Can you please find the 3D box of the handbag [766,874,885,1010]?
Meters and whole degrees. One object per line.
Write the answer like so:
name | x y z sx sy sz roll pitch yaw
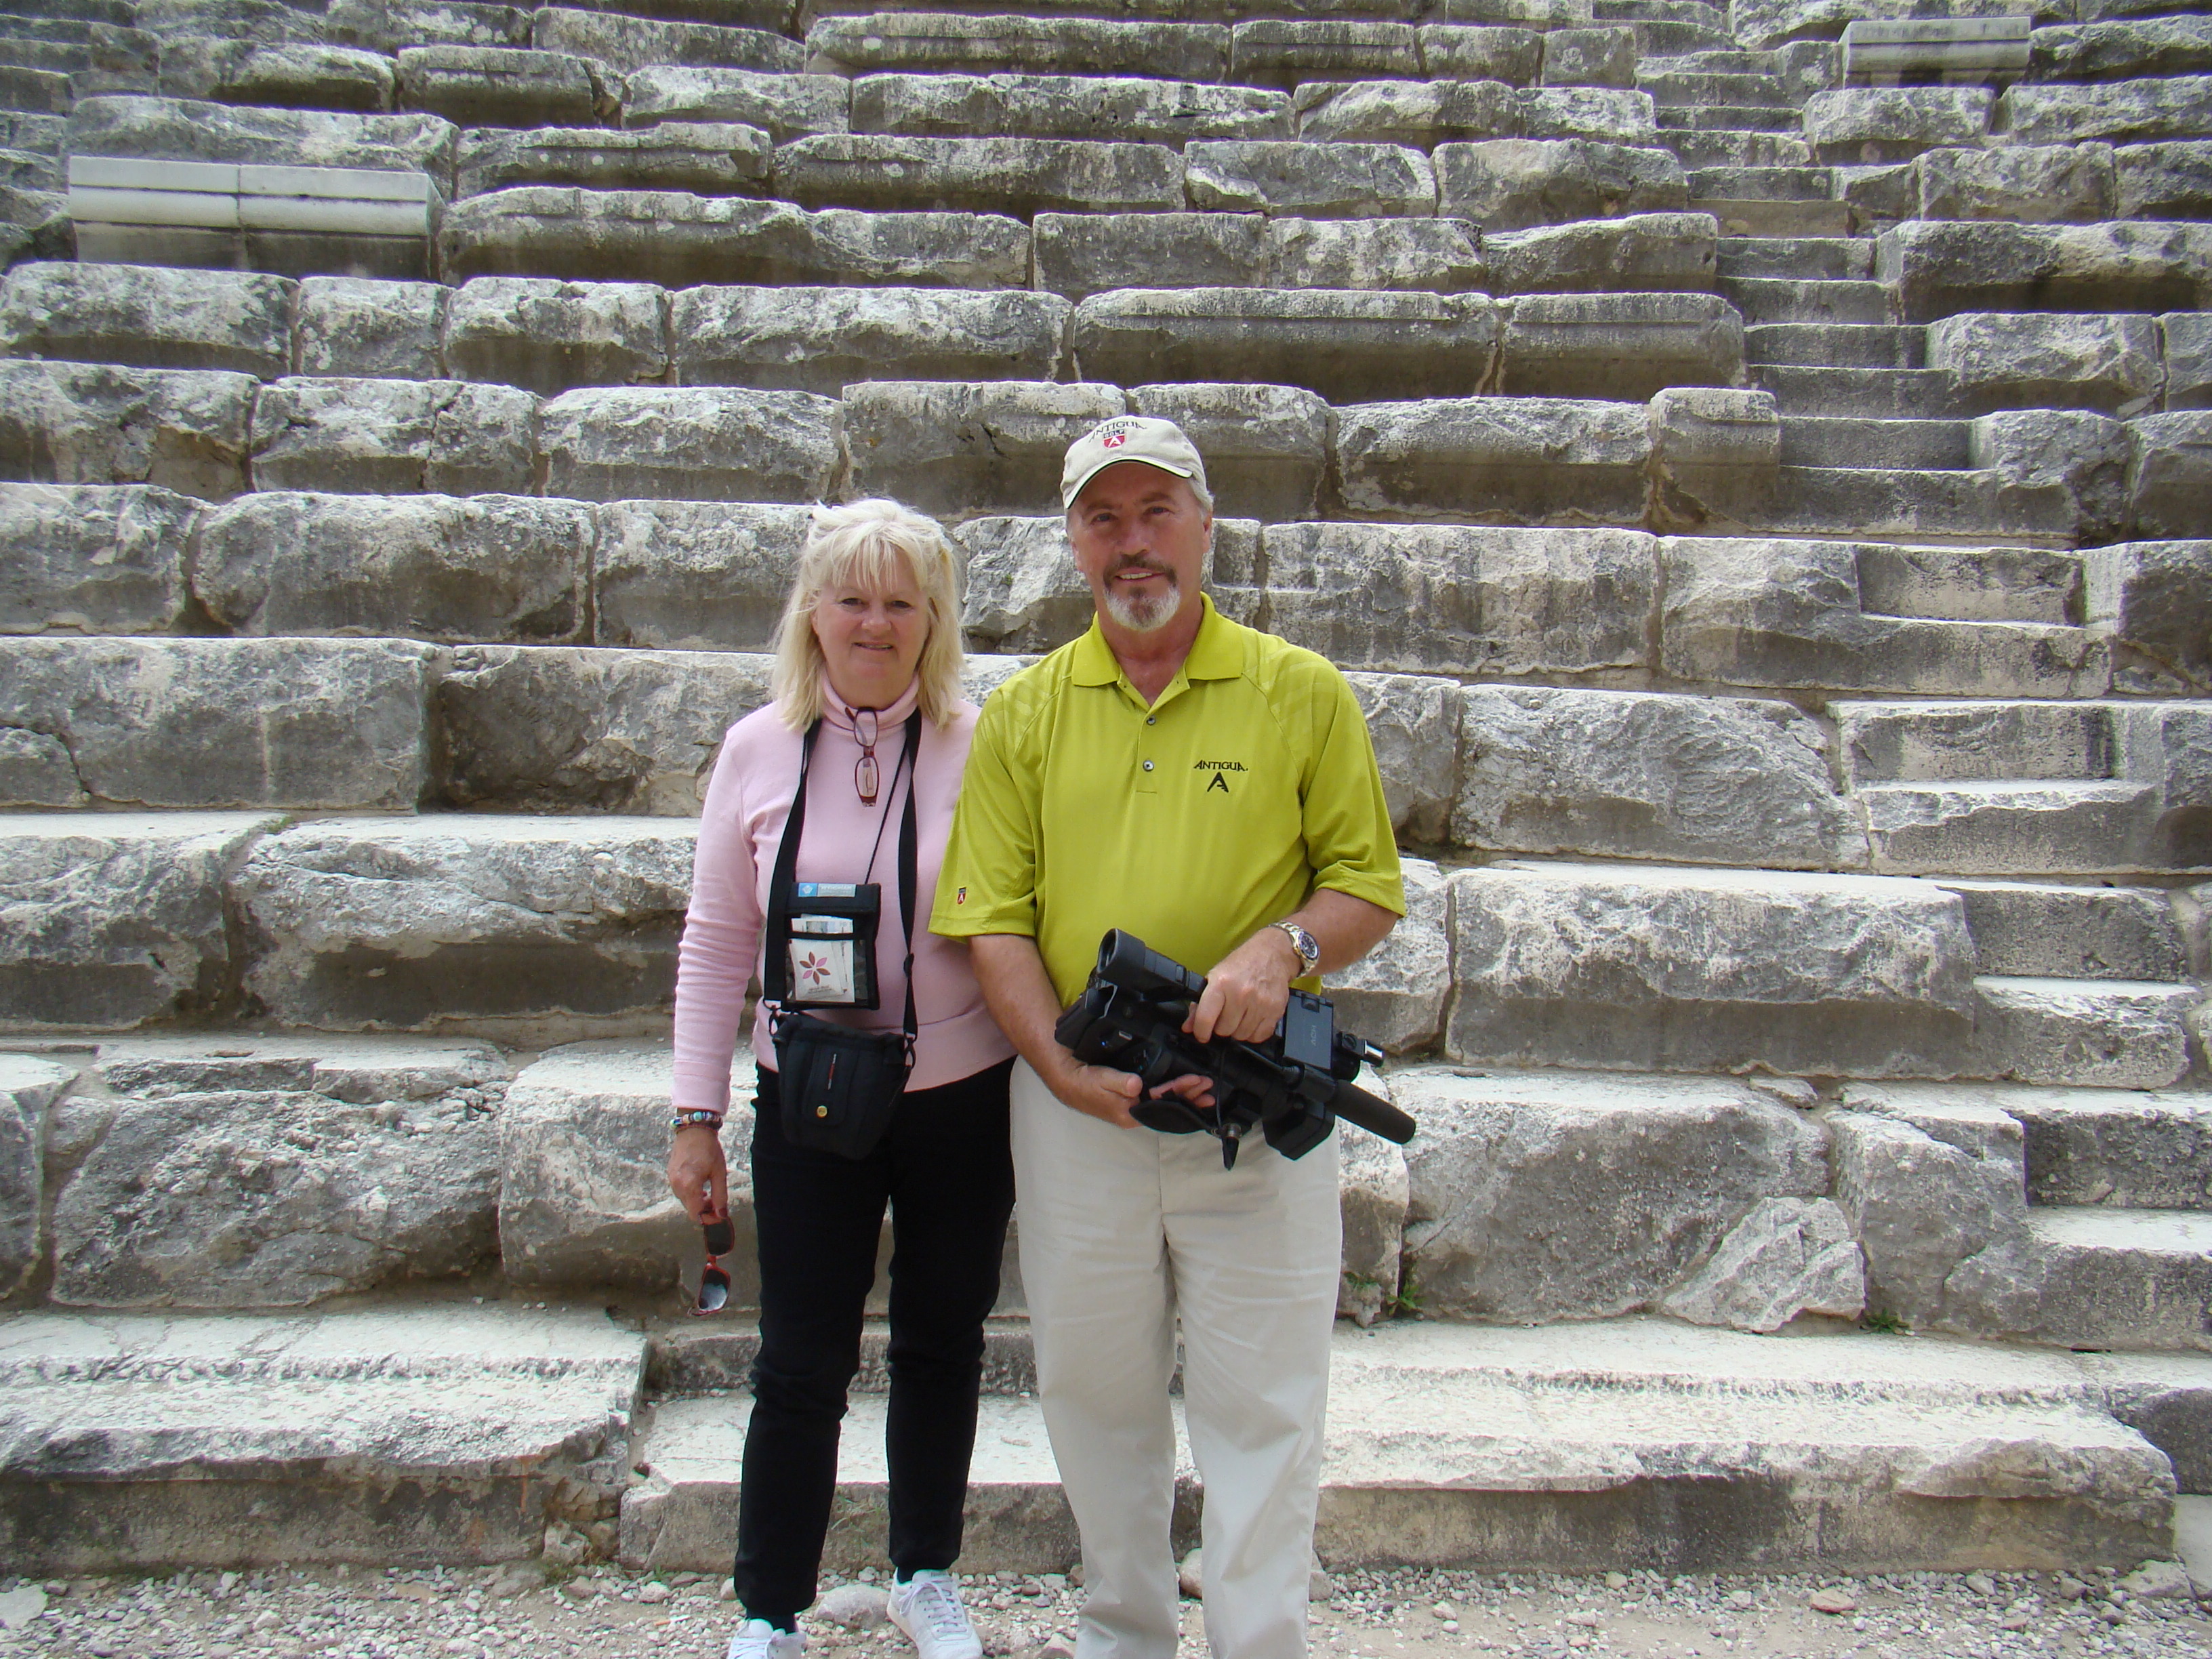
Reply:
handbag | -0.656 0.268 5.484 0.316 0.264 0.102 2 0 7

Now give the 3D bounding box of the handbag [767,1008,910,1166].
handbag | -0.621 0.610 5.486 0.400 0.333 0.144 5 4 21

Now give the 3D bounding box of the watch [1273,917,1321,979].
watch | 0.454 0.269 5.369 0.071 0.111 0.106 -19 12 -11
